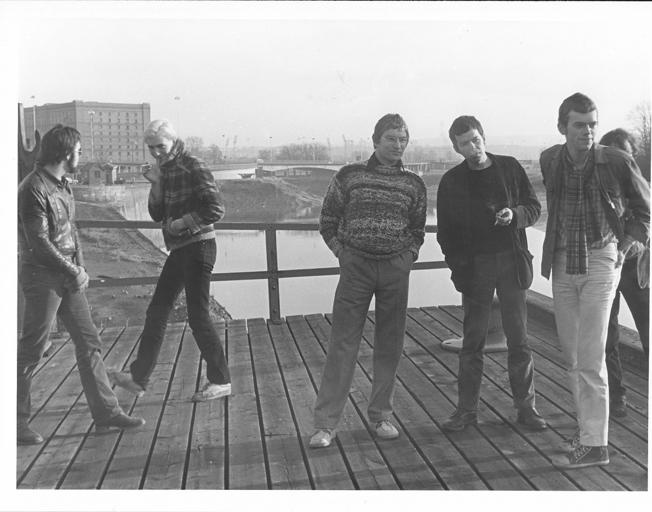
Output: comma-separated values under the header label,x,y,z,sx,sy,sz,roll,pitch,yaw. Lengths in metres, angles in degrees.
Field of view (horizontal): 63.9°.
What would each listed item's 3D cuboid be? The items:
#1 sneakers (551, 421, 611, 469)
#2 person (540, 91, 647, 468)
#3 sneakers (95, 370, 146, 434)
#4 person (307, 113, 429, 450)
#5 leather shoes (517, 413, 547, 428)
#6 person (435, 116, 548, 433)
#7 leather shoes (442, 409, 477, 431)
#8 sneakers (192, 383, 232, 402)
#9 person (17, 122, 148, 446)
label,x,y,z,sx,sy,sz,roll,pitch,yaw
sneakers,1.386,1.062,2.978,0.375,0.277,0.157,1,2,7
person,1.481,0.115,2.933,0.585,2.013,0.601,4,10,23
sneakers,-1.305,0.991,3.314,0.248,0.126,0.367,2,35,-22
person,0.260,0.144,3.127,0.657,1.942,0.504,1,9,9
leather shoes,1.307,1.030,3.293,0.079,0.067,0.151,0,-4,-24
person,1.050,0.109,3.306,0.657,1.939,0.382,0,9,4
leather shoes,0.849,1.048,3.350,0.221,0.112,0.103,-2,1,-17
sneakers,-0.819,0.964,3.747,0.274,0.128,0.107,1,-2,-21
person,-1.567,0.178,3.114,0.628,1.849,0.276,-5,10,-26
